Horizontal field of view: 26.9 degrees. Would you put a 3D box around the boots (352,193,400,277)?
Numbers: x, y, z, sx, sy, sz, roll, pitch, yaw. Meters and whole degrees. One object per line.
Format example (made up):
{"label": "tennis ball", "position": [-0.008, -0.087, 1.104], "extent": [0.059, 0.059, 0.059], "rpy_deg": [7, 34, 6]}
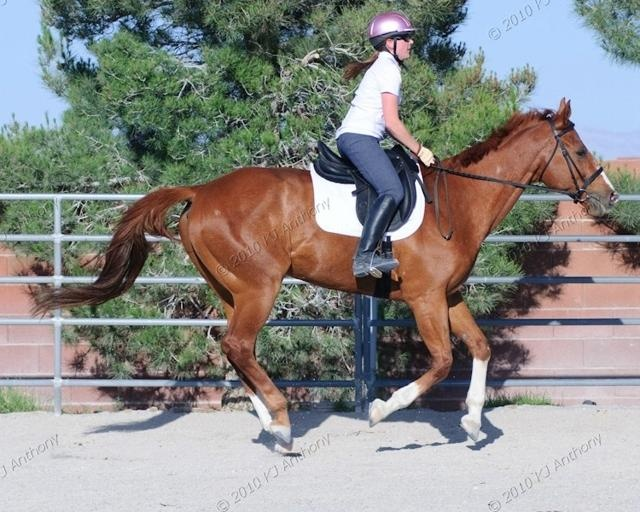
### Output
{"label": "boots", "position": [0.533, -0.194, 12.709], "extent": [0.412, 0.745, 0.231], "rpy_deg": [0, 11, 2]}

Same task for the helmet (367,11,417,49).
{"label": "helmet", "position": [0.700, -2.186, 13.035], "extent": [0.412, 0.320, 0.305], "rpy_deg": [6, 1, 2]}

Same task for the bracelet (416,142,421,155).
{"label": "bracelet", "position": [0.963, -1.034, 12.902], "extent": [0.040, 0.101, 0.079], "rpy_deg": [5, 3, 12]}
